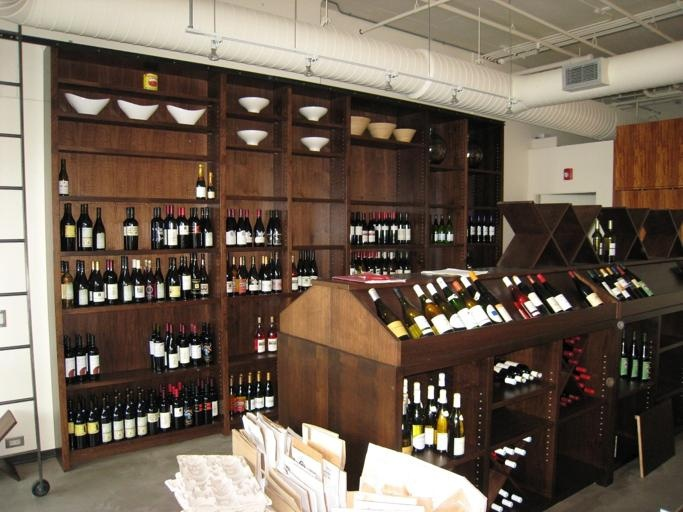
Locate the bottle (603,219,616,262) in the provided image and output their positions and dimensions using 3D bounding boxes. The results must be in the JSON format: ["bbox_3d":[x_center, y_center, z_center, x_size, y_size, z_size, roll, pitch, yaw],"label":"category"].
[{"bbox_3d":[2.193,-0.129,4.770,0.087,0.329,0.267,-2,4,28],"label":"bottle"}]

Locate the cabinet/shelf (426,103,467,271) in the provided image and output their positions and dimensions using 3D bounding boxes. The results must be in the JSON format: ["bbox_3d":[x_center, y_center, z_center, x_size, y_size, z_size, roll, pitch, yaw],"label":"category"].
[{"bbox_3d":[1.136,-0.670,6.440,0.368,1.635,0.497,-6,4,-39],"label":"cabinet/shelf"}]

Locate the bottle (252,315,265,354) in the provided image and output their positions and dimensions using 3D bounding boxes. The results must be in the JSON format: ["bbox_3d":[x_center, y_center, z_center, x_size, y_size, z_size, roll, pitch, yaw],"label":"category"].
[{"bbox_3d":[-0.742,0.725,5.327,0.112,0.309,0.253,-4,3,-9],"label":"bottle"}]

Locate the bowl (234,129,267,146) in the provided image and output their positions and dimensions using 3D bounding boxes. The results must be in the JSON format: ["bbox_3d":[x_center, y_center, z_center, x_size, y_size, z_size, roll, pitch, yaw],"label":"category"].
[{"bbox_3d":[-0.800,-1.026,5.125,0.278,0.166,0.167,-2,4,36],"label":"bowl"}]

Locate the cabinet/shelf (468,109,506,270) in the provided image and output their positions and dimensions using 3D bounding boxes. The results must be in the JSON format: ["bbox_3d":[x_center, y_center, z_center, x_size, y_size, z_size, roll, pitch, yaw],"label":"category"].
[{"bbox_3d":[1.656,-0.701,6.730,0.471,1.683,0.563,-3,3,13],"label":"cabinet/shelf"}]

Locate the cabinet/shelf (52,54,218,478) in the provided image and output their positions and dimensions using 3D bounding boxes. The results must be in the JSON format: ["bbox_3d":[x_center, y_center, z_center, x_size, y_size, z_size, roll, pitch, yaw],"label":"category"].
[{"bbox_3d":[-1.621,0.093,4.722,1.298,3.317,0.383,-2,12,-32],"label":"cabinet/shelf"}]

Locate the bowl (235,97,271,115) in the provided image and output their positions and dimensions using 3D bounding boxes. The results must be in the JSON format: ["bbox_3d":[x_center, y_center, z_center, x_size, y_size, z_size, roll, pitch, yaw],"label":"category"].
[{"bbox_3d":[-0.755,-1.317,5.071,0.189,0.088,0.193,-1,11,0],"label":"bowl"}]

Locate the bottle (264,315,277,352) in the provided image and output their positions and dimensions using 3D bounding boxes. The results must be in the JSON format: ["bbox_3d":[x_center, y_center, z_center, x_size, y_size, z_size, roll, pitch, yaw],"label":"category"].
[{"bbox_3d":[-0.641,0.725,5.372,0.109,0.295,0.252,-4,3,-7],"label":"bottle"}]

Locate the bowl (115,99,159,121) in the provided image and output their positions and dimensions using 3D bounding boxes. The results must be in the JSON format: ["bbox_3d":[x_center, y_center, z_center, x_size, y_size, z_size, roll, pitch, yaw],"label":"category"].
[{"bbox_3d":[-1.625,-1.168,4.682,0.298,0.195,0.311,-4,3,0],"label":"bowl"}]

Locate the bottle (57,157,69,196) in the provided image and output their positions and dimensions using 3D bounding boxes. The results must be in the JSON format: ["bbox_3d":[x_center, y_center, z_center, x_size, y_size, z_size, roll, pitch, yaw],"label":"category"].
[{"bbox_3d":[-2.117,-0.599,4.458,0.071,0.231,0.328,-5,3,-23],"label":"bottle"}]

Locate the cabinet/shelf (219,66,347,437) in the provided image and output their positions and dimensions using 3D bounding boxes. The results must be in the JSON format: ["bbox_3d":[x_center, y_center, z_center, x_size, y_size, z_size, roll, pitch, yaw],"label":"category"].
[{"bbox_3d":[-0.534,-0.102,5.457,1.119,2.914,0.303,-5,11,-27],"label":"cabinet/shelf"}]

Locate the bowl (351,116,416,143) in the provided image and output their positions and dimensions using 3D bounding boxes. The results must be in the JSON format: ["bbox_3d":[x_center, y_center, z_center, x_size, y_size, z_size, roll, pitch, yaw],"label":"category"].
[{"bbox_3d":[0.391,-1.244,5.854,0.864,0.269,0.324,-6,4,-29],"label":"bowl"}]
